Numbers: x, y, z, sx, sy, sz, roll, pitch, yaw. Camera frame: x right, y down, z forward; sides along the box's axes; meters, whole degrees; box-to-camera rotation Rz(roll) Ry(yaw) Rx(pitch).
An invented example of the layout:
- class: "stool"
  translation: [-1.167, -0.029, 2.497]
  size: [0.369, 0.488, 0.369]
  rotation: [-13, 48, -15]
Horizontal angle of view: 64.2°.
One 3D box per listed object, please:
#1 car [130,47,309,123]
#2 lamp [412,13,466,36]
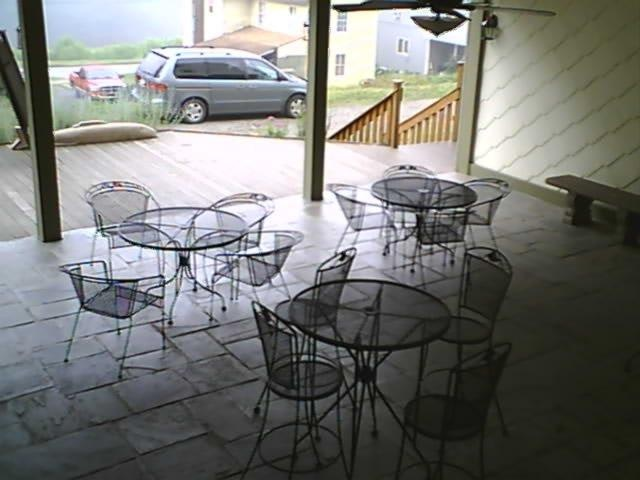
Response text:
- class: "car"
  translation: [-2.436, -3.681, 12.453]
  size: [4.365, 1.469, 1.822]
  rotation: [-8, 27, -23]
- class: "lamp"
  translation: [0.911, -1.639, 3.873]
  size: [0.244, 0.111, 0.231]
  rotation: [-9, 17, -27]
